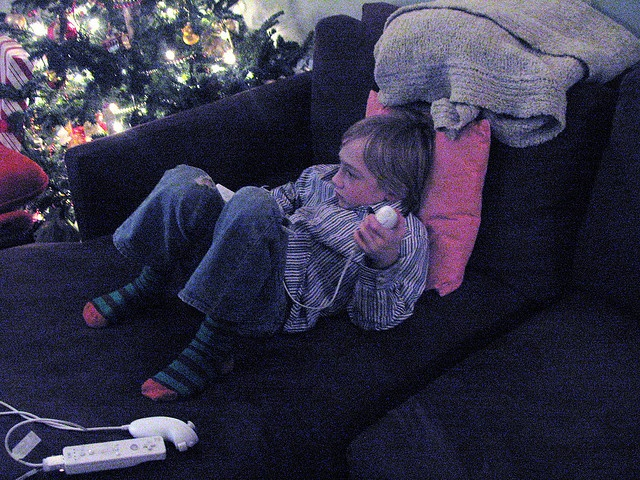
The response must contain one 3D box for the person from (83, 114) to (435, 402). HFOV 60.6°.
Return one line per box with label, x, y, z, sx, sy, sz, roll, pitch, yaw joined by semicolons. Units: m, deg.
person;-0.131;-0.012;1.331;0.862;0.480;0.649;-7;27;-23
